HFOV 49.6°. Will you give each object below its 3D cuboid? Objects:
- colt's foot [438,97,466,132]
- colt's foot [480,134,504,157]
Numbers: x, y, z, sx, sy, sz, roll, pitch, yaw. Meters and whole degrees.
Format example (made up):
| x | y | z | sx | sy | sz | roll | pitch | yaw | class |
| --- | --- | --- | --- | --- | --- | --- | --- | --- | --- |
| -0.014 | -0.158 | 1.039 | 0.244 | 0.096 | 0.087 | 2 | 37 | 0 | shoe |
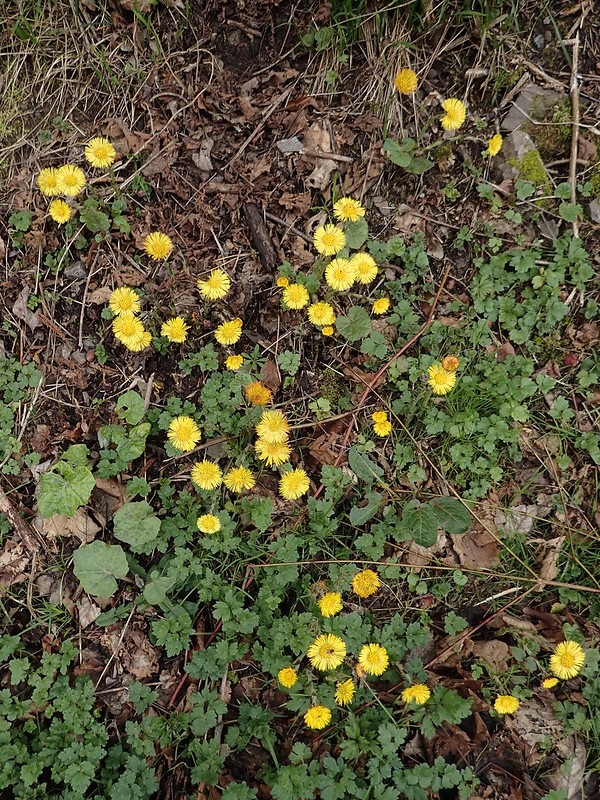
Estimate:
| x | y | z | sx | sy | sz | roll | pitch | yaw | class |
| --- | --- | --- | --- | --- | --- | --- | --- | --- | --- |
| 0.699 | -1.289 | 2.975 | 0.163 | 0.071 | 0.163 | -19 | 118 | -32 | colt's foot |
| 0.876 | -1.153 | 2.977 | 0.040 | 0.116 | 0.111 | -6 | 76 | 40 | colt's foot |
